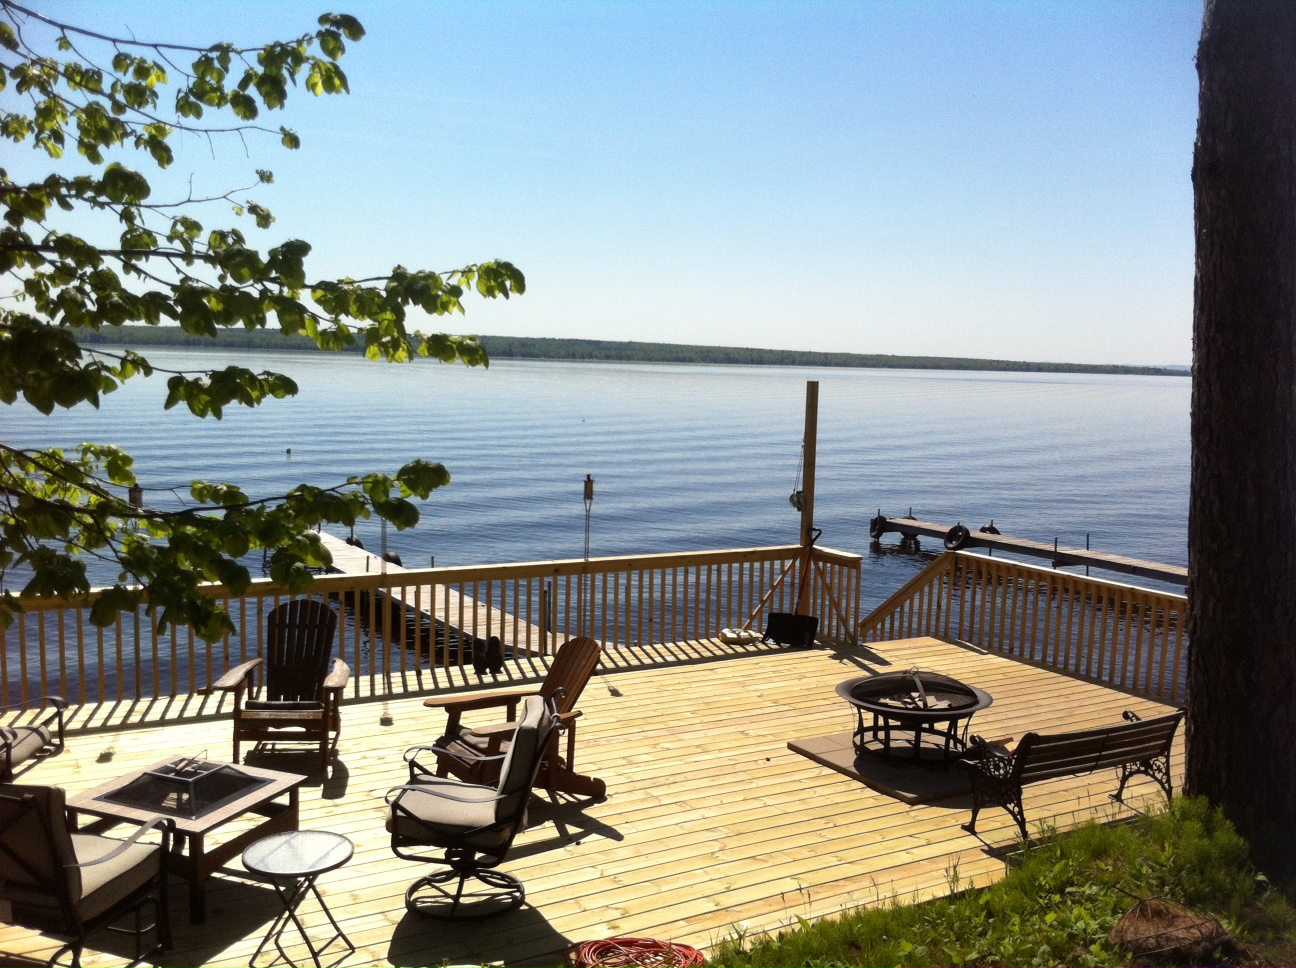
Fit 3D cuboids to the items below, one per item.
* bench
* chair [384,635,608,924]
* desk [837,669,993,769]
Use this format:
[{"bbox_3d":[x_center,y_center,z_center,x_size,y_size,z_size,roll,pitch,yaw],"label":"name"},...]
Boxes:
[{"bbox_3d":[3.089,2.076,8.279,1.708,0.764,0.617,1,-1,-32],"label":"bench"},{"bbox_3d":[-1.019,2.049,7.752,1.282,1.347,1.953,1,1,2],"label":"chair"},{"bbox_3d":[2.180,1.921,9.333,1.146,0.691,1.210,0,5,10],"label":"desk"}]
